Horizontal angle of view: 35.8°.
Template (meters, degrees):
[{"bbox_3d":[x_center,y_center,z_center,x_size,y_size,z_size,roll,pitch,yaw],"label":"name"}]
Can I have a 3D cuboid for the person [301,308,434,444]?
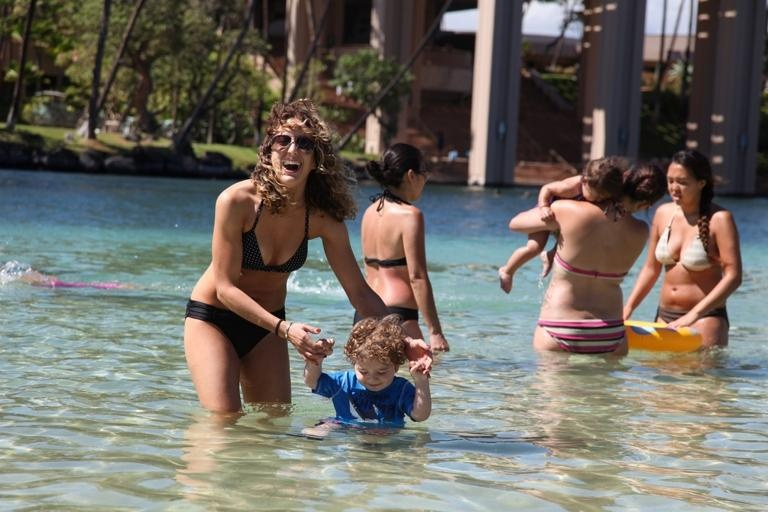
[{"bbox_3d":[-0.156,1.193,11.897,1.230,1.220,0.365,0,4,2],"label":"person"}]

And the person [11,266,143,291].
[{"bbox_3d":[-4.335,0.378,16.617,1.324,0.186,0.511,7,-6,-24],"label":"person"}]

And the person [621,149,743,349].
[{"bbox_3d":[3.505,-0.067,14.057,1.336,2.346,0.831,0,2,-21],"label":"person"}]

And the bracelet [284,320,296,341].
[{"bbox_3d":[-0.941,0.731,11.775,0.117,0.137,0.144,9,26,14],"label":"bracelet"}]

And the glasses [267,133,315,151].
[{"bbox_3d":[-0.917,-1.128,11.818,0.429,0.164,0.077,-1,4,-7],"label":"glasses"}]
